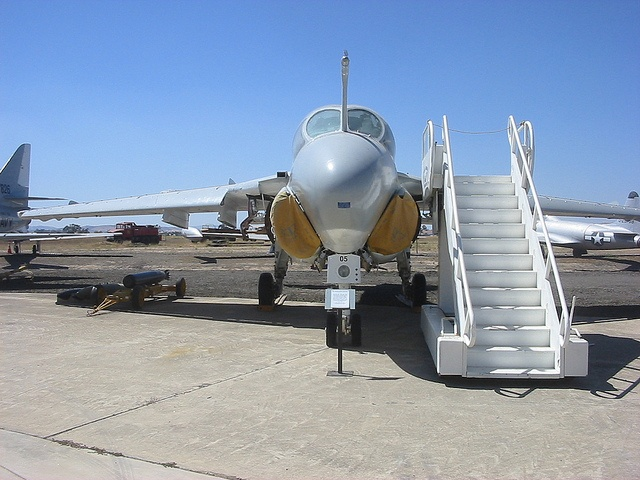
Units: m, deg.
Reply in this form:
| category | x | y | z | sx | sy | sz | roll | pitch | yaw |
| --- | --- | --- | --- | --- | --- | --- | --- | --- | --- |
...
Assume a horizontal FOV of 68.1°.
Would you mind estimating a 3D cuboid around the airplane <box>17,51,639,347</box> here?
| category | x | y | z | sx | sy | sz | roll | pitch | yaw |
| --- | --- | --- | --- | --- | --- | --- | --- | --- | --- |
| airplane | -0.615 | -0.859 | 11.588 | 12.024 | 3.910 | 7.783 | 0 | 5 | 0 |

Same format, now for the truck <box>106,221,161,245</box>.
| category | x | y | z | sx | sy | sz | roll | pitch | yaw |
| --- | --- | --- | --- | --- | --- | --- | --- | --- | --- |
| truck | -23.874 | -0.677 | 60.880 | 6.037 | 2.264 | 3.066 | 1 | -3 | -24 |
